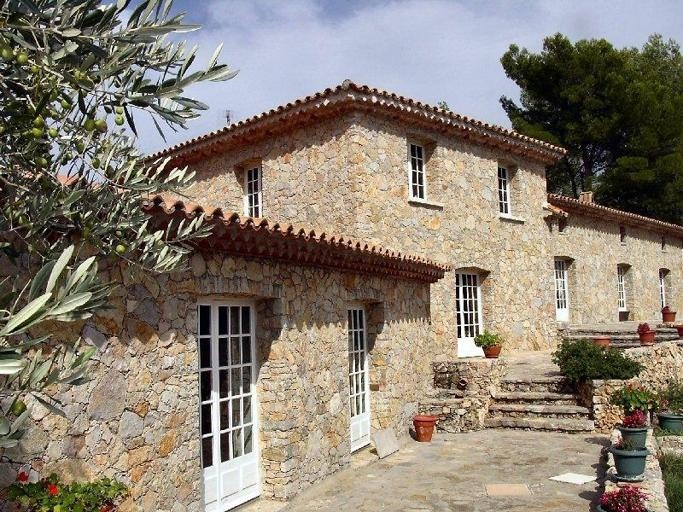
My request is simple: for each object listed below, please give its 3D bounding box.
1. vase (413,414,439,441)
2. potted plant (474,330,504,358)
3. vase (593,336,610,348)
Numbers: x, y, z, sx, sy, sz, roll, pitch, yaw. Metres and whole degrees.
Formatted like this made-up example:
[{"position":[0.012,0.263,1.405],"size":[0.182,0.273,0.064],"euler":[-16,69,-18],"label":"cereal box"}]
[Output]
[{"position":[1.638,3.297,10.609],"size":[0.417,0.452,0.449],"euler":[0,-16,0],"label":"vase"},{"position":[3.660,2.205,13.649],"size":[0.588,0.675,0.640],"euler":[1,-14,-1],"label":"potted plant"},{"position":[6.286,2.070,13.278],"size":[0.423,0.304,0.464],"euler":[-1,-7,7],"label":"vase"}]
